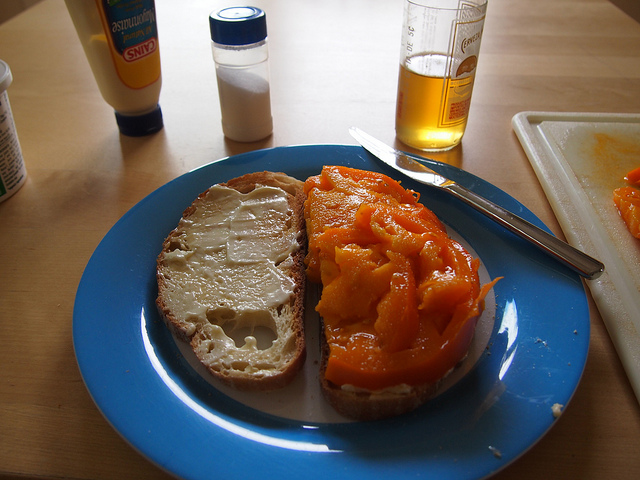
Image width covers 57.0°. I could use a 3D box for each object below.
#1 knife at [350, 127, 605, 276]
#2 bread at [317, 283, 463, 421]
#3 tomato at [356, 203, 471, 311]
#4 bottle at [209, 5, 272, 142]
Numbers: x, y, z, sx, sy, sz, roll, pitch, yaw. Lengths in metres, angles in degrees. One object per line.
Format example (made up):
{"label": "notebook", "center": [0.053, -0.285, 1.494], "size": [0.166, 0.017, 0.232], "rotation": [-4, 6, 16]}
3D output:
{"label": "knife", "center": [0.436, -0.098, 1.625], "size": [0.095, 0.043, 0.711], "rotation": [-40, 59, -21]}
{"label": "bread", "center": [0.126, 0.305, 1.329], "size": [0.353, 0.086, 0.210], "rotation": [18, 55, 12]}
{"label": "tomato", "center": [0.221, 0.021, 1.390], "size": [0.284, 0.127, 0.151], "rotation": [43, 38, 24]}
{"label": "bottle", "center": [-0.252, -0.541, 1.879], "size": [0.178, 0.405, 0.226], "rotation": [-5, 53, -4]}
